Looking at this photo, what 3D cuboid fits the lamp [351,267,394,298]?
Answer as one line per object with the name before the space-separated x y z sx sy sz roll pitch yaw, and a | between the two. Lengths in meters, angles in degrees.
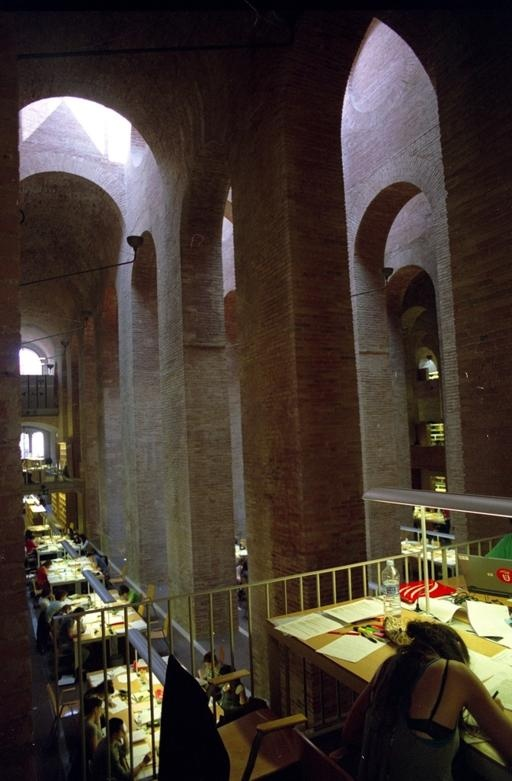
lamp | 1.615 -1.513 8.813 0.585 0.581 0.366 6 -6 -6
